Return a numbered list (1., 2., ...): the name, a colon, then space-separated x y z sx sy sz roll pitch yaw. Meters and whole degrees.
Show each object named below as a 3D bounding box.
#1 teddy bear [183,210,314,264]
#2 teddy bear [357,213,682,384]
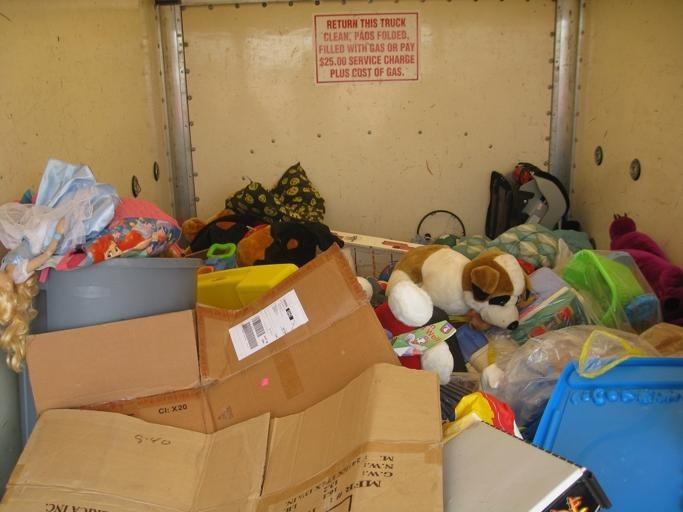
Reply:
1. teddy bear: -0.459 -0.096 2.464 0.471 0.138 0.520 -6 18 -18
2. teddy bear: 0.678 0.076 2.104 1.140 0.347 0.854 -1 17 -2
